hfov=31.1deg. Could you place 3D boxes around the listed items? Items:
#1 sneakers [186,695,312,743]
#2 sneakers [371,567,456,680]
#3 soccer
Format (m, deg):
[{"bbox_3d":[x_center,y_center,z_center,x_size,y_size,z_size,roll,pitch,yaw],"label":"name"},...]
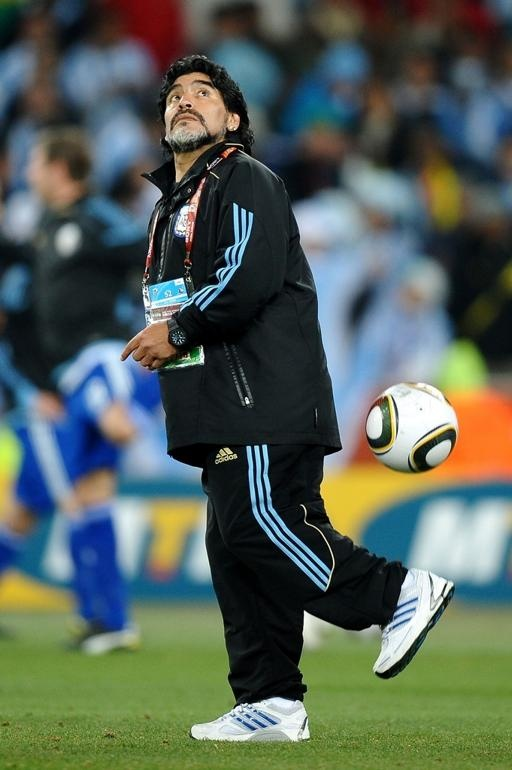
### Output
[{"bbox_3d":[-0.001,0.745,2.055,0.293,0.107,0.093,1,-28,2],"label":"sneakers"},{"bbox_3d":[0.353,0.542,2.084,0.100,0.226,0.190,12,18,39],"label":"sneakers"},{"bbox_3d":[0.420,0.101,2.306,0.236,0.211,0.219,-3,4,22],"label":"soccer"}]
